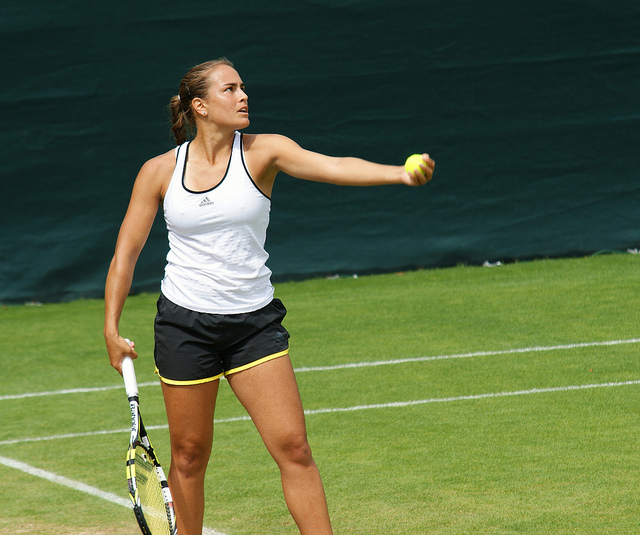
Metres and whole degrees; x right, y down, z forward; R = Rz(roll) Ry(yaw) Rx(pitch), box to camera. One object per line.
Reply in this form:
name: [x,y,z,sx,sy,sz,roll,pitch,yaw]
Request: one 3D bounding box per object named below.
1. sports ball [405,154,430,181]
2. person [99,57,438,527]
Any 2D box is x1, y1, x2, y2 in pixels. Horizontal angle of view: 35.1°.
sports ball: [0.442,-0.460,4.647,0.095,0.119,0.154,-3,6,-12]
person: [-0.392,0.137,4.894,1.328,2.289,0.380,0,7,16]
